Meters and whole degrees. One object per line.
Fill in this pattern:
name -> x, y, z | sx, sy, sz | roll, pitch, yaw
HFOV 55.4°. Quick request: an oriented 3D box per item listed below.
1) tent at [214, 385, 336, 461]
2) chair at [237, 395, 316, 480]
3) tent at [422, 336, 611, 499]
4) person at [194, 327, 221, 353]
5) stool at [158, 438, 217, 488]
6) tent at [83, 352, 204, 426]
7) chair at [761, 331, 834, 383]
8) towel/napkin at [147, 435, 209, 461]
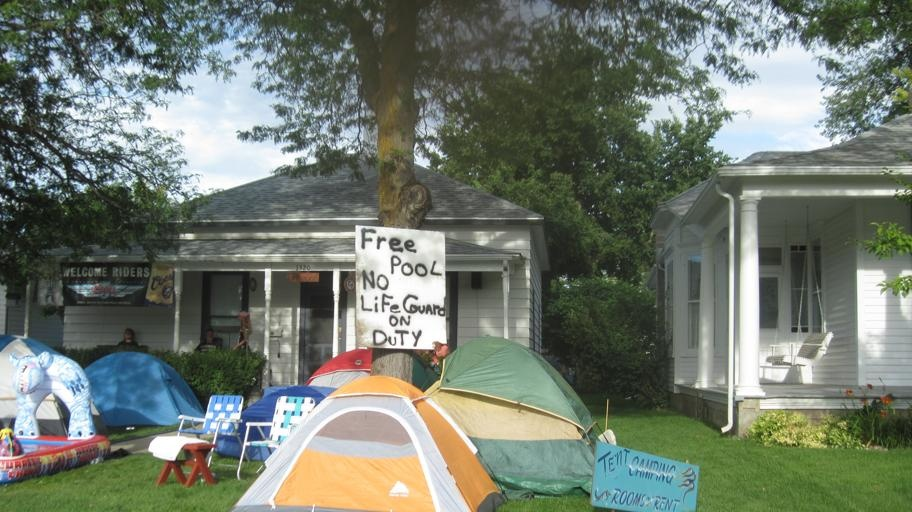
tent -> -4.682, 3.904, 21.411 | 2.031, 0.913, 2.075 | -1, -2, 17
chair -> -4.142, 4.149, 19.760 | 1.570, 1.850, 1.725 | -3, -7, 21
tent -> 1.363, 3.625, 19.369 | 3.096, 1.644, 3.315 | 1, 3, 7
person -> -7.629, 2.518, 26.911 | 0.878, 1.142, 0.657 | 1, -7, -17
stool -> -5.983, 4.694, 19.374 | 0.915, 0.950, 1.422 | 6, -7, -44
tent -> -8.652, 3.688, 23.825 | 2.180, 1.110, 2.523 | -1, -2, 16
chair -> 9.297, 2.773, 23.885 | 1.764, 1.367, 1.393 | 1, -5, -4
towel/napkin -> -6.179, 4.259, 19.352 | 0.909, 0.383, 0.943 | -3, -12, 21
